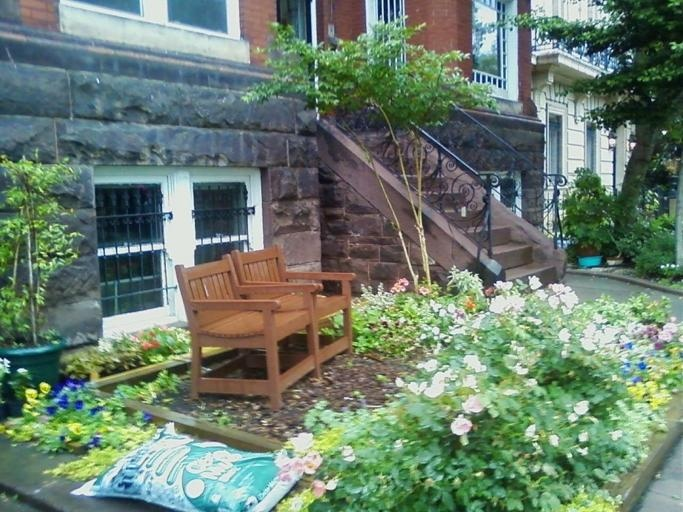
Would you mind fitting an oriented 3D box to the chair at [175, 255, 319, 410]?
[{"bbox_3d":[-0.780,0.587,4.762,0.993,1.214,1.024,-3,8,21],"label":"chair"}]

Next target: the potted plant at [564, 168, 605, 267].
[{"bbox_3d":[5.362,-0.928,11.464,1.047,1.926,0.869,-9,8,-24],"label":"potted plant"}]

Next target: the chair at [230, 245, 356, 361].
[{"bbox_3d":[-0.477,0.387,5.787,1.266,1.718,1.093,0,7,28],"label":"chair"}]

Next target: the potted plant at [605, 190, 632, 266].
[{"bbox_3d":[6.094,-0.683,11.397,0.497,1.481,1.048,0,9,33],"label":"potted plant"}]
